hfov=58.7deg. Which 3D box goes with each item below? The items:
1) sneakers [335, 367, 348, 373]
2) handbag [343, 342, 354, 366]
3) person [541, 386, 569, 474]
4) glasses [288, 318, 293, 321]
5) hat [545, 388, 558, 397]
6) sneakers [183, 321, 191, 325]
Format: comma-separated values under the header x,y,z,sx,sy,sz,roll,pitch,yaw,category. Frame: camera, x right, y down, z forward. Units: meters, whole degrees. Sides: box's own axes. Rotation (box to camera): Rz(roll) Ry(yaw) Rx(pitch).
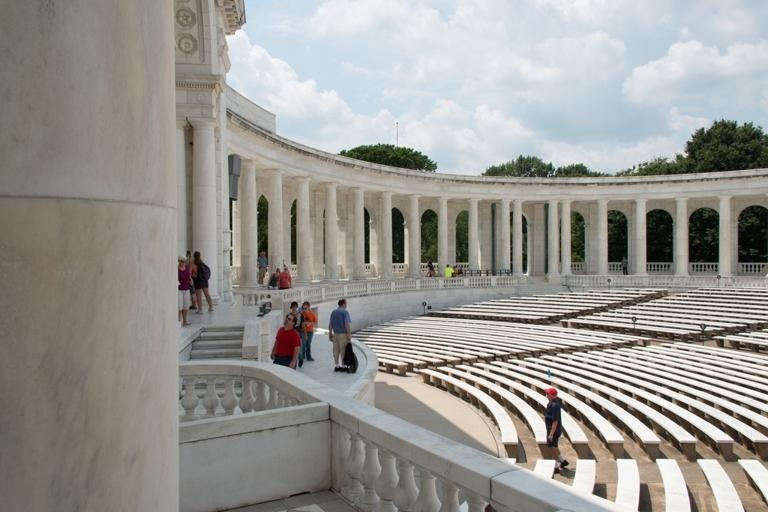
x,y,z,sx,sy,sz,roll,pitch,yaw,category
-1.731,4.554,27.231,0.570,0.262,0.214,1,-2,-2,sneakers
-1.395,3.921,27.065,0.477,0.915,0.413,6,0,23,handbag
5.841,6.010,23.655,0.851,2.905,1.029,6,0,-23,person
-3.007,2.020,21.719,0.108,0.089,0.114,0,2,10,glasses
5.705,4.769,23.723,0.328,0.273,0.470,-4,11,-24,hat
-8.302,2.842,28.786,0.321,0.238,0.127,-6,7,-5,sneakers
